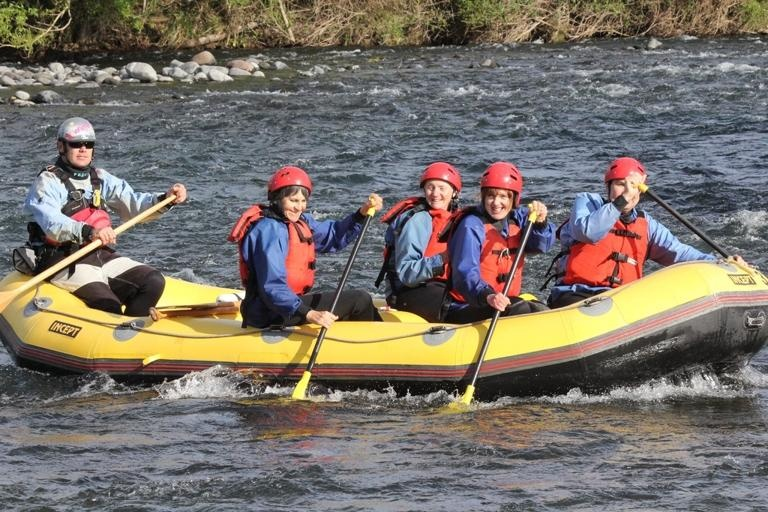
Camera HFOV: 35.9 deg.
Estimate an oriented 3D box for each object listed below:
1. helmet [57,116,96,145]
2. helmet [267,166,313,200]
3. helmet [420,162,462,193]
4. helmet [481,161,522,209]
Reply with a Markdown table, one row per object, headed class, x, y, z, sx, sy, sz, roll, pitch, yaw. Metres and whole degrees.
| class | x | y | z | sx | sy | sz | roll | pitch | yaw |
| --- | --- | --- | --- | --- | --- | --- | --- | --- | --- |
| helmet | -3.573 | -1.452 | 13.868 | 0.399 | 0.273 | 0.232 | -4 | 17 | -14 |
| helmet | -1.113 | -0.833 | 13.218 | 0.575 | 0.311 | 0.352 | -14 | -14 | 16 |
| helmet | 0.631 | -0.904 | 13.307 | 0.405 | 0.360 | 0.340 | 4 | -3 | 10 |
| helmet | 1.303 | -0.760 | 13.103 | 0.391 | 0.530 | 0.354 | 7 | 19 | 20 |
